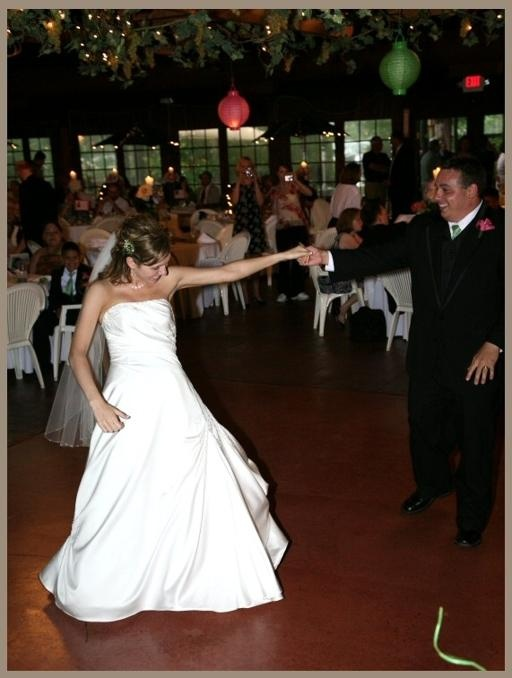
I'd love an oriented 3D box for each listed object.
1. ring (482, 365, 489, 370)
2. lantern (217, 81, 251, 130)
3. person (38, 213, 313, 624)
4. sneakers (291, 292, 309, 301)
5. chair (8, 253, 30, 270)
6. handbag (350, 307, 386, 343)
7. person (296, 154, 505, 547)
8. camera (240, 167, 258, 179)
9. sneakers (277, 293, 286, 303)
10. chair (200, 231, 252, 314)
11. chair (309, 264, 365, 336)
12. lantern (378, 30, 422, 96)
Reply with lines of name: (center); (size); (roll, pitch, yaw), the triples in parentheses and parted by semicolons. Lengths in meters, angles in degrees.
ring: (0.934, 0.116, 2.101); (0.015, 0.005, 0.019); (0, 45, 4)
lantern: (-0.339, -3.267, 7.252); (0.370, 0.664, 0.837); (-3, 8, -4)
person: (-0.379, 0.272, 1.830); (0.720, 1.406, 0.542); (-7, 10, -28)
sneakers: (0.729, -0.691, 8.536); (0.290, 0.186, 0.138); (-3, 16, 12)
chair: (-2.825, -0.923, 6.139); (0.248, 0.208, 0.786); (-6, 8, -25)
handbag: (1.256, -0.143, 6.109); (0.513, 0.457, 0.362); (-1, 0, -14)
person: (0.834, 0.030, 2.377); (0.282, 1.594, 0.724); (-9, 11, -39)
camera: (-0.128, -2.505, 7.785); (0.226, 0.072, 0.216); (-1, -26, -7)
sneakers: (0.406, -0.660, 8.439); (0.145, 0.117, 0.134); (6, 9, 44)
chair: (-0.480, -1.046, 8.026); (0.802, 1.138, 0.837); (8, 11, 42)
chair: (0.869, -0.501, 6.684); (0.633, 0.754, 0.644); (12, 6, 2)
lantern: (1.404, -2.725, 5.079); (0.352, 0.521, 0.408); (0, 8, 12)
